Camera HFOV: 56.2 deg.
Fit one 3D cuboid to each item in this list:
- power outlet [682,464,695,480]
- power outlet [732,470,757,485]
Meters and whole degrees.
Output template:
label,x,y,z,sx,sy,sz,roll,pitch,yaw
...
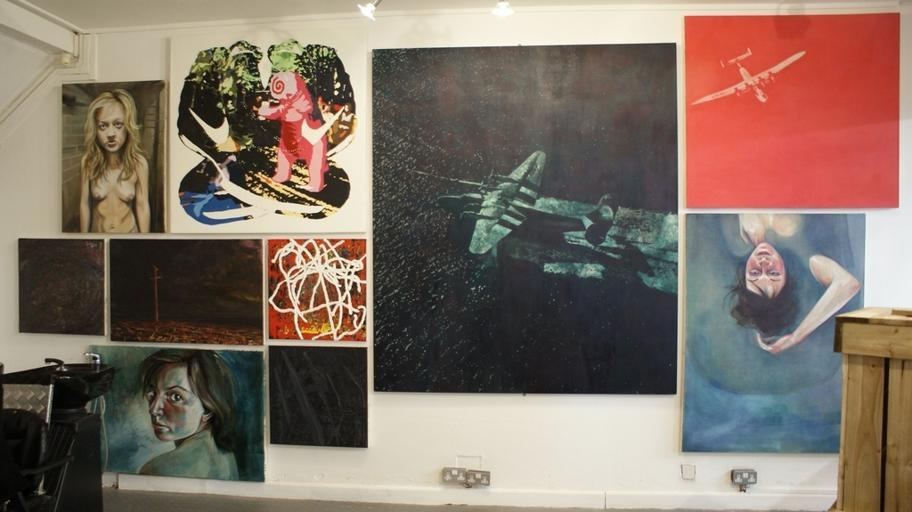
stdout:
label,x,y,z,sx,sy,sz,roll,pitch,yaw
power outlet,2.139,1.974,7.813,0.132,0.146,0.011,-1,-2,-2
power outlet,2.640,2.007,7.833,0.243,0.106,0.132,0,1,2
